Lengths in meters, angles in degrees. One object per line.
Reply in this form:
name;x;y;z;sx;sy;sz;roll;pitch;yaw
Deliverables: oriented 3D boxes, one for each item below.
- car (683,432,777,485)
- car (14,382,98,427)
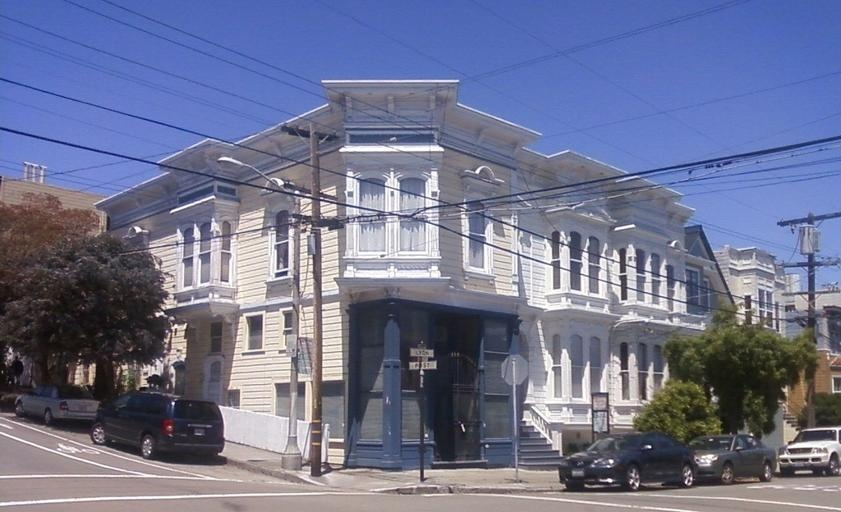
car;14.357;9.471;52.971;2.702;1.723;6.265;-11;-14;41
car;-18.038;7.408;56.107;5.513;1.801;2.526;-1;-3;28
